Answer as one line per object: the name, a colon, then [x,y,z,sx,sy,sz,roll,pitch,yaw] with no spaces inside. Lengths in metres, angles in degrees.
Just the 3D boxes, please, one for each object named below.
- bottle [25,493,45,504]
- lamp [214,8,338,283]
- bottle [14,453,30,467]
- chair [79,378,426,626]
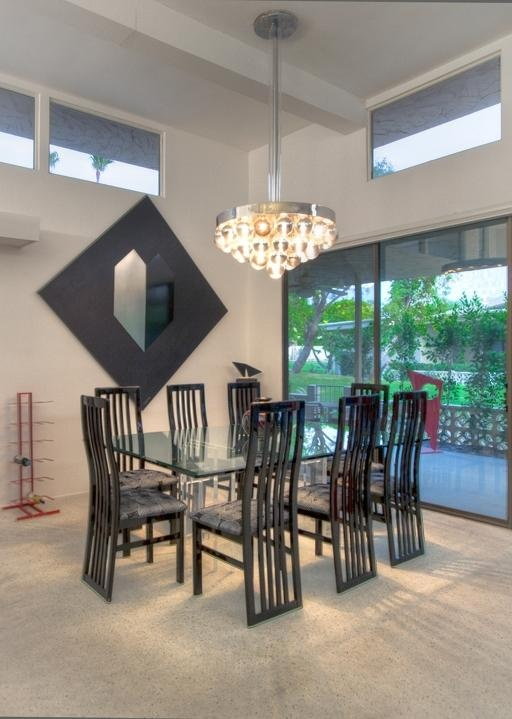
bottle: [-1.769,1.111,4.401,0.137,0.052,0.086,8,-3,14]
lamp: [0.163,-1.426,3.572,0.712,1.336,0.874,0,0,34]
bottle: [-1.834,0.794,4.364,0.090,0.053,0.130,12,-4,7]
chair: [-0.027,0.750,3.126,1.320,0.848,1.312,1,-3,-38]
